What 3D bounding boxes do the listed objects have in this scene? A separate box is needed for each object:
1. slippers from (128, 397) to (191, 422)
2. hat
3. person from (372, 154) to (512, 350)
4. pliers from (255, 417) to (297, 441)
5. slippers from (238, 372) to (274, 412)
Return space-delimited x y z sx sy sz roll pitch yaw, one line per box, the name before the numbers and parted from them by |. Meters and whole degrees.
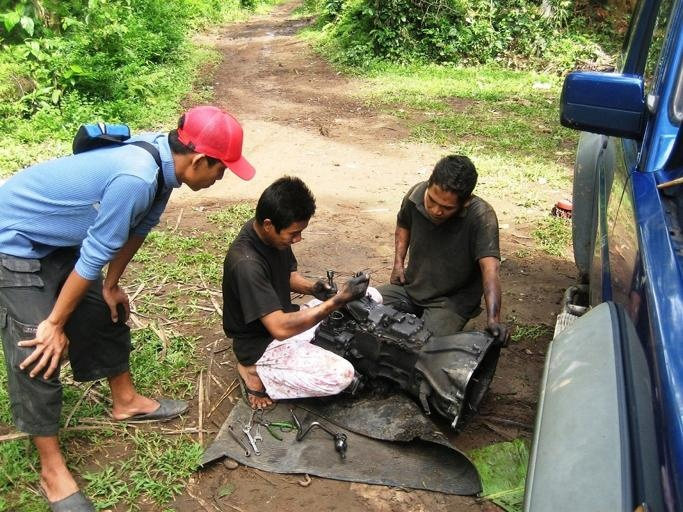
slippers | -1.188 1.005 3.752 0.370 0.074 0.124 -2 24 -7
hat | -0.757 -0.643 3.332 0.543 0.274 0.325 31 25 -12
person | 0.814 -0.087 4.138 0.563 1.267 1.263 -8 23 -34
pliers | -0.431 1.107 3.715 0.198 0.041 0.116 23 39 32
slippers | -0.592 0.913 3.843 0.149 0.068 0.273 -34 83 -28
